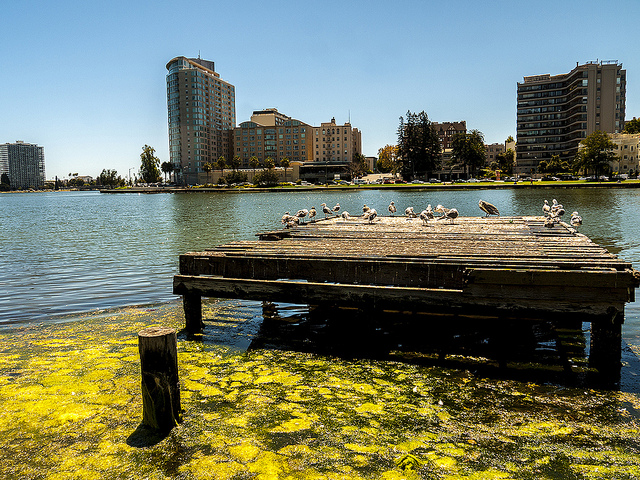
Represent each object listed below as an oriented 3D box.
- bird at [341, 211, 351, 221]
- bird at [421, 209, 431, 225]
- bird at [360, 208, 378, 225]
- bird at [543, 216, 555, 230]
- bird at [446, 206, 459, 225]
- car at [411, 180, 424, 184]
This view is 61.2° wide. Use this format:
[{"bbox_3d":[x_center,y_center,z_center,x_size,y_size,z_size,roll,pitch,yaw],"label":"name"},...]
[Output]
[{"bbox_3d":[1.187,-1.145,25.750,0.446,0.266,0.649,-3,11,4],"label":"bird"},{"bbox_3d":[4.501,-0.962,22.677,0.284,0.485,0.754,-7,-12,7],"label":"bird"},{"bbox_3d":[2.210,-1.151,24.583,0.451,0.759,1.348,3,-6,22],"label":"bird"},{"bbox_3d":[8.987,-0.674,21.271,0.444,0.441,0.287,30,-27,-9],"label":"bird"},{"bbox_3d":[5.569,-1.027,22.904,0.456,0.601,1.487,3,15,12],"label":"bird"},{"bbox_3d":[23.803,-14.379,133.117,2.890,0.928,1.324,-1,5,13],"label":"car"}]
